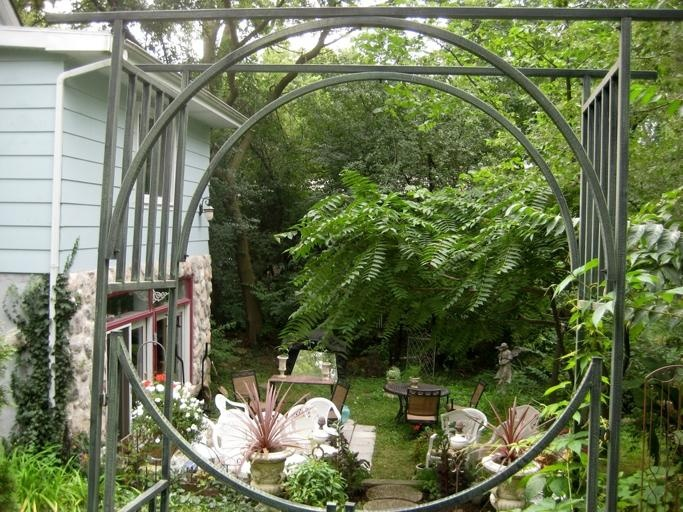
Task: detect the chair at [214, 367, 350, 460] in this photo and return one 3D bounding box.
[{"bbox_3d":[-0.519,1.805,6.677,1.218,0.616,1.210,12,-10,-37],"label":"chair"}]

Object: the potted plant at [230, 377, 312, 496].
[{"bbox_3d":[-0.717,1.815,6.224,0.682,1.033,0.687,-1,-6,13],"label":"potted plant"}]

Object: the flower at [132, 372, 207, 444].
[{"bbox_3d":[-1.996,1.825,7.467,0.763,0.689,1.610,1,-6,-7],"label":"flower"}]
